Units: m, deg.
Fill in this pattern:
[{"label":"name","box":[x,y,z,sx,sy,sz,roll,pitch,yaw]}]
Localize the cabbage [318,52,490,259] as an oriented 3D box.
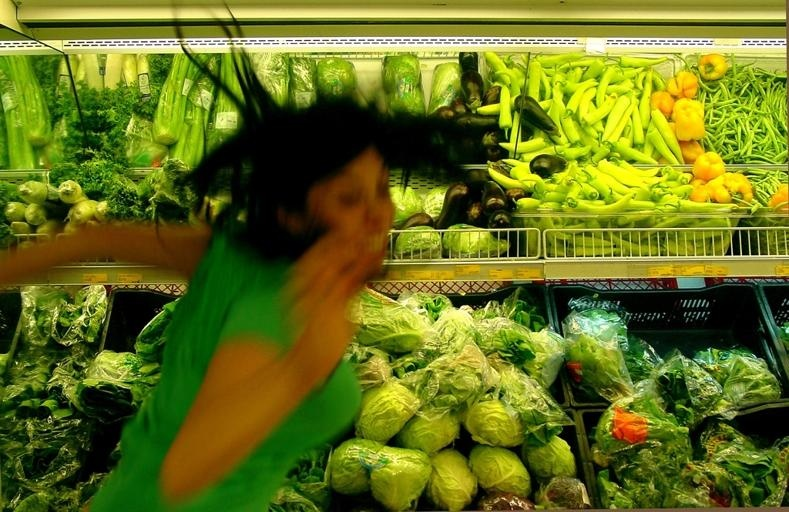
[{"label":"cabbage","box":[-0.121,-0.603,2.727,0.480,0.975,0.703,1,2,-26]}]
